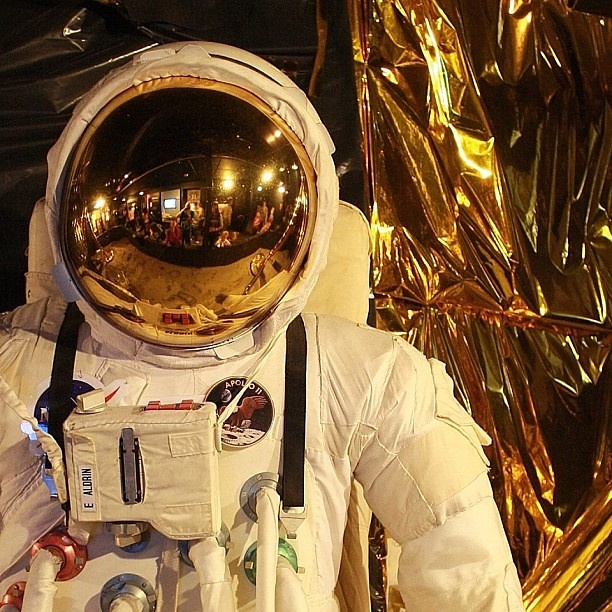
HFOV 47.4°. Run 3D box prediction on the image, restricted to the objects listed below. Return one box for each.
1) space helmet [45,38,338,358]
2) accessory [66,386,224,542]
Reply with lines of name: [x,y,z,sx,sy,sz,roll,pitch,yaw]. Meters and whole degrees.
space helmet: [-0.143,-0.177,1.009,0.304,0.494,0.368,8,12,0]
accessory: [-0.211,0.213,0.902,0.149,0.201,0.081,0,2,1]
